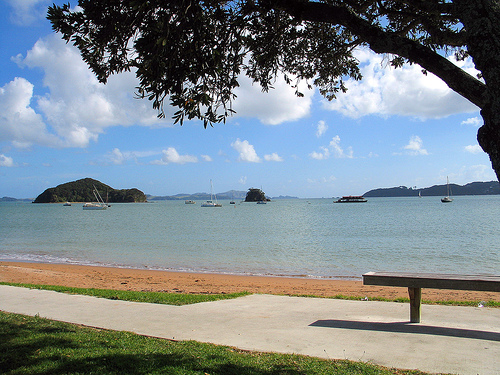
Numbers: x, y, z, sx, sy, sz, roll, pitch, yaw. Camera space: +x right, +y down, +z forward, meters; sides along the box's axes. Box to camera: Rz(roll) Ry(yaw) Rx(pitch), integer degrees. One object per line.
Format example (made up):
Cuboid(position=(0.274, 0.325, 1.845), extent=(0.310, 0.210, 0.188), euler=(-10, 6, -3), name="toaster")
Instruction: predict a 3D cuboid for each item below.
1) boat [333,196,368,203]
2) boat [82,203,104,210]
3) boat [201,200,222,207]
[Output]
Cuboid(position=(46.957, 5.952, 180.273), extent=(11.314, 2.909, 7.550), euler=(0, -6, 5), name="boat")
Cuboid(position=(-54.474, 6.905, 136.155), extent=(6.167, 2.603, 10.448), euler=(3, -7, -27), name="boat")
Cuboid(position=(-17.340, 7.301, 166.008), extent=(6.895, 2.198, 4.799), euler=(1, -3, 24), name="boat")
